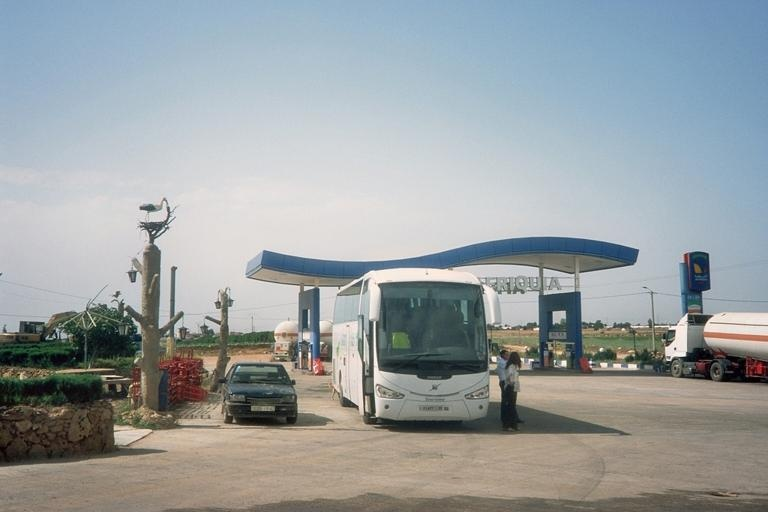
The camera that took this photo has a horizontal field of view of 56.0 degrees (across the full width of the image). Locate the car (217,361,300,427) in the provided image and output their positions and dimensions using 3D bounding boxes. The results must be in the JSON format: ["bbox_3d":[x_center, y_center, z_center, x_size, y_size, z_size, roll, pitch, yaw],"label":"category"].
[{"bbox_3d":[-4.023,4.369,22.928,2.225,1.893,2.282,1,-8,-17],"label":"car"}]

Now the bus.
[{"bbox_3d":[0.720,2.803,23.174,3.561,5.071,4.979,1,-8,-19],"label":"bus"}]
